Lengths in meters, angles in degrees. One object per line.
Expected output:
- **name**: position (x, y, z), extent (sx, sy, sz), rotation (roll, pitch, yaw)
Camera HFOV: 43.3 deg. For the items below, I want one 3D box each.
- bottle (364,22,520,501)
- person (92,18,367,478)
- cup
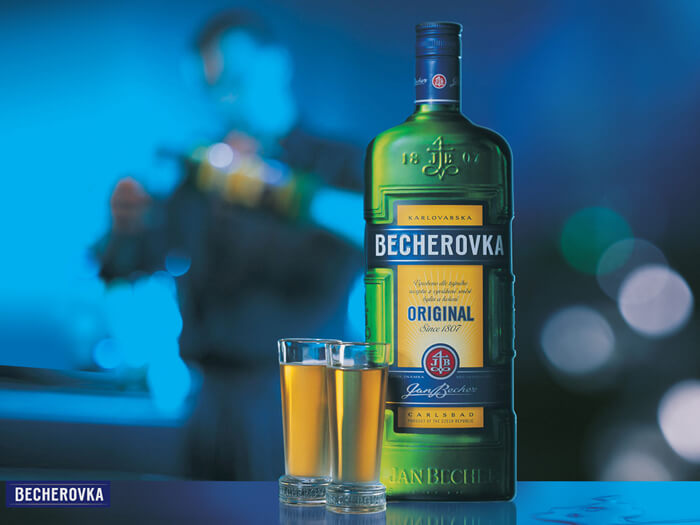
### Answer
- **bottle**: position (0.131, -0.003, 1.301), extent (0.214, 0.684, 0.159), rotation (0, -12, 7)
- **person**: position (-0.207, -0.029, 1.567), extent (0.448, 0.807, 0.184), rotation (3, -12, -9)
- **cup**: position (-0.025, 0.227, 1.257), extent (0.157, 0.249, 0.138), rotation (1, -12, 2)
